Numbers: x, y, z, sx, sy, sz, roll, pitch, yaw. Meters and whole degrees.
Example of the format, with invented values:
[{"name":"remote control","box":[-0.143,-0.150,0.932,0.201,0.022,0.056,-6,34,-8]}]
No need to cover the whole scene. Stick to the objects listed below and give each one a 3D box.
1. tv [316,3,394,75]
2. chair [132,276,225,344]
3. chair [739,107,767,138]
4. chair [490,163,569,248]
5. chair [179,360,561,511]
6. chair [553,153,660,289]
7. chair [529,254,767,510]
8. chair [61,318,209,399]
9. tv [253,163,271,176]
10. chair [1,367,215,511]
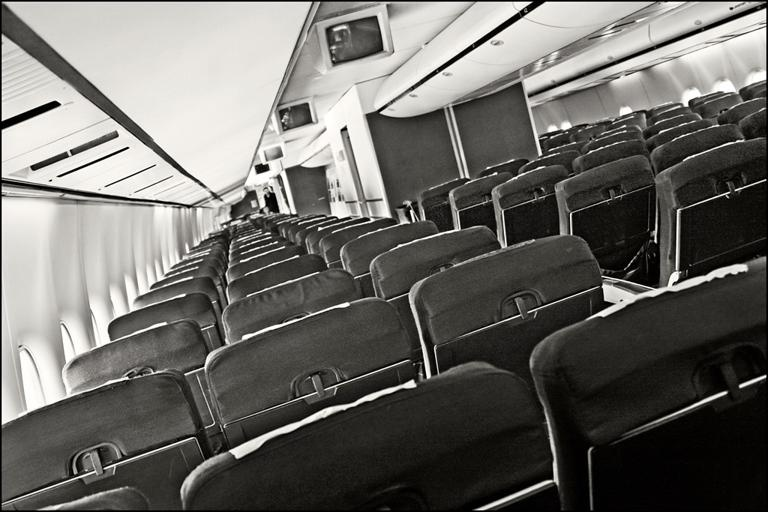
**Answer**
[{"name":"tv","box":[-0.344,-2.622,6.242,0.881,0.675,0.636,-15,-20,-5]},{"name":"chair","box":[-2.248,0.611,6.158,0.395,0.732,0.647,-40,-38,-41]},{"name":"chair","box":[3.497,-1.210,4.996,0.221,0.223,0.372,-29,-23,30]},{"name":"chair","box":[1.298,-0.431,4.796,0.643,0.326,0.929,-21,-36,0]},{"name":"chair","box":[-0.057,0.512,1.518,0.660,0.300,0.186,-14,31,-9]},{"name":"chair","box":[1.622,-0.301,4.075,0.706,0.959,0.807,-18,23,5]},{"name":"chair","box":[0.735,0.370,1.497,0.501,0.670,0.393,-24,12,-1]},{"name":"chair","box":[-1.545,0.562,3.440,0.675,0.570,0.657,-18,10,-13]},{"name":"tv","box":[-5.012,-3.569,21.898,0.658,0.448,0.674,-9,-1,44]},{"name":"chair","box":[-1.033,0.702,2.042,0.585,0.498,0.324,-21,22,-6]}]
